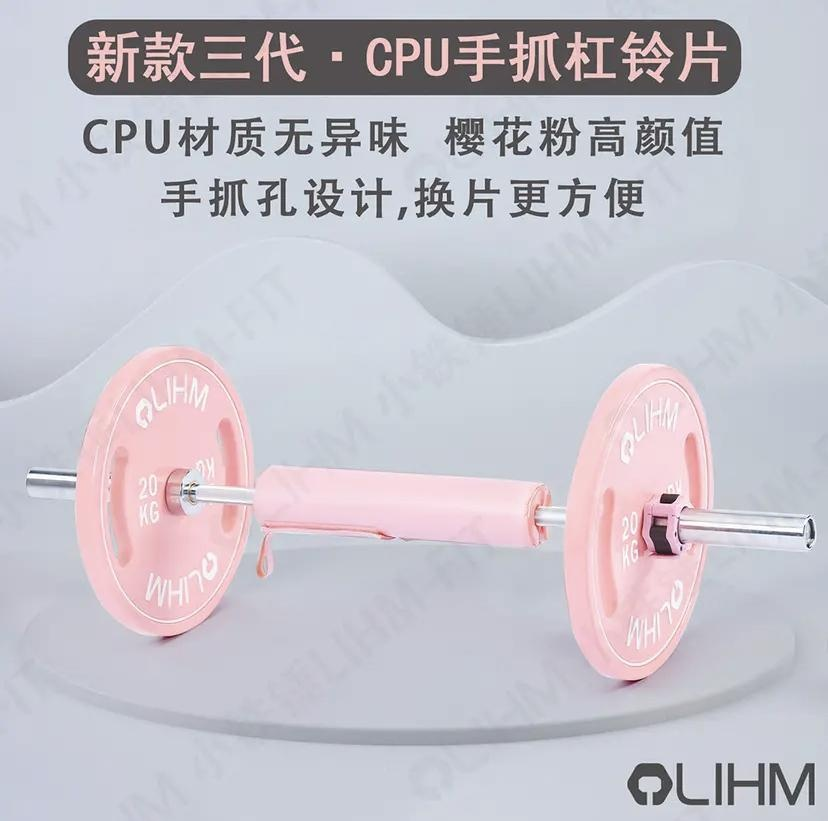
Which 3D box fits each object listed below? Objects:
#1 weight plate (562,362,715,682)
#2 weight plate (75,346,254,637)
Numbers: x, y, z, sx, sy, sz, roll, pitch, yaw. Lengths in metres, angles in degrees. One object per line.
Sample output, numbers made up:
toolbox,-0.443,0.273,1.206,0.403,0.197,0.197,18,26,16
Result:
weight plate,0.463,0.255,2.272,0.128,0.613,0.524,5,13,31
weight plate,-0.549,0.187,2.603,0.478,0.632,0.517,0,4,25
